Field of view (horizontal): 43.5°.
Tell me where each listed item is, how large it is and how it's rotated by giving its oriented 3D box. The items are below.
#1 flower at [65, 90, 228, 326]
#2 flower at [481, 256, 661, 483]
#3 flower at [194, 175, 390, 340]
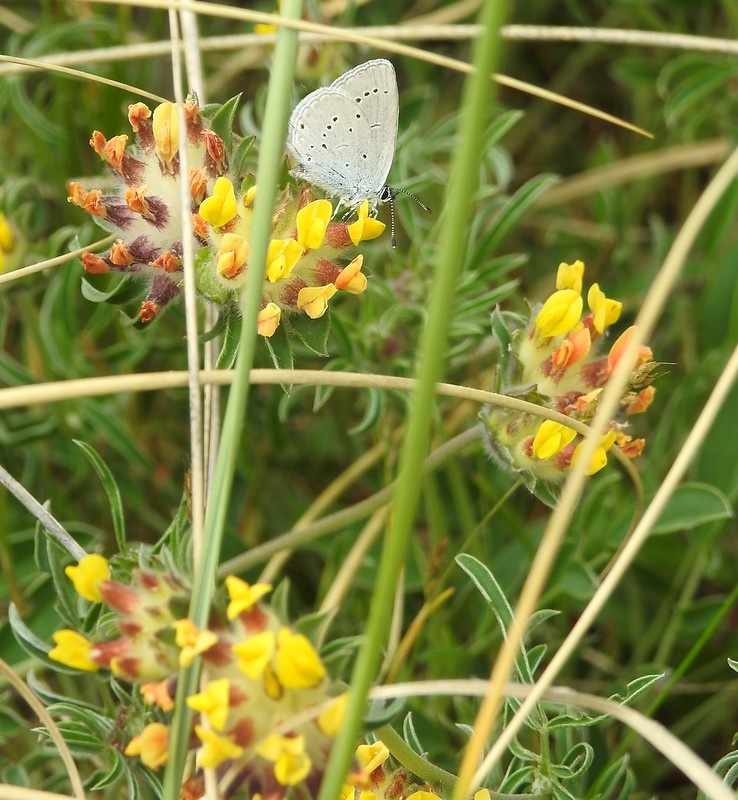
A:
[{"bbox_3d":[-0.302,-0.276,1.520,0.165,0.360,0.279,14,8,-39],"label":"flower"},{"bbox_3d":[0.300,-0.031,1.503,0.199,0.354,0.281,0,-37,50],"label":"flower"},{"bbox_3d":[-0.088,-0.170,1.482,0.296,0.144,0.282,29,-8,-27],"label":"flower"}]
